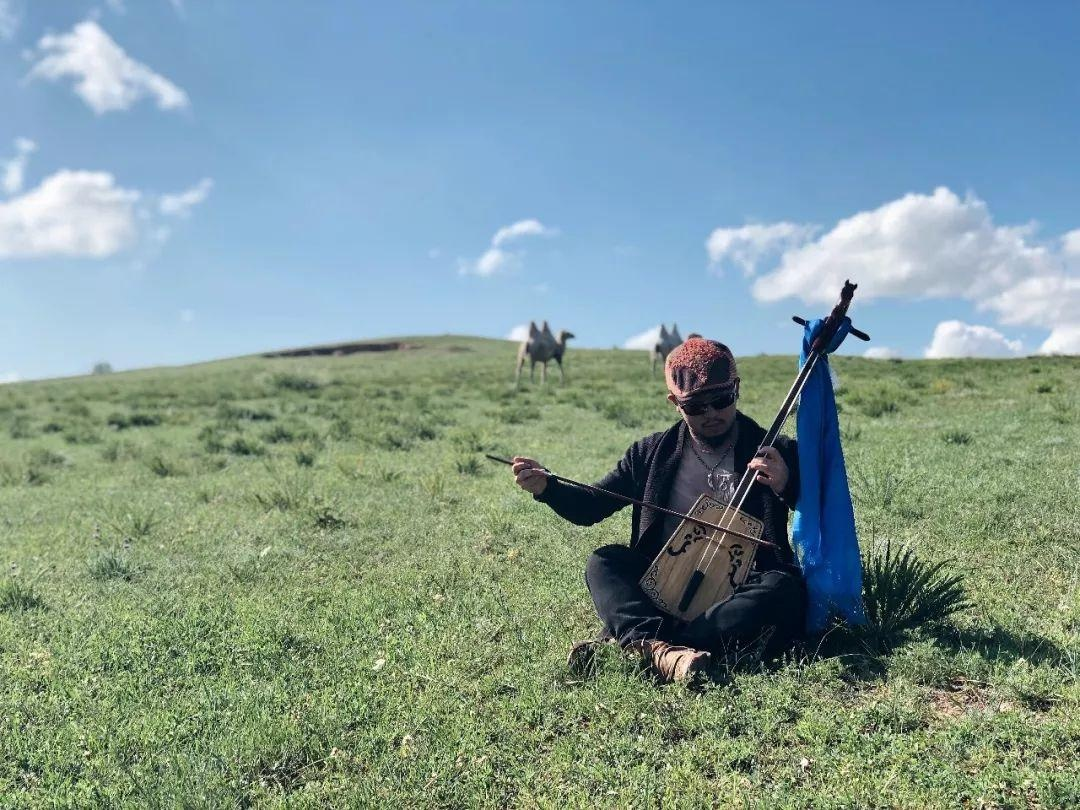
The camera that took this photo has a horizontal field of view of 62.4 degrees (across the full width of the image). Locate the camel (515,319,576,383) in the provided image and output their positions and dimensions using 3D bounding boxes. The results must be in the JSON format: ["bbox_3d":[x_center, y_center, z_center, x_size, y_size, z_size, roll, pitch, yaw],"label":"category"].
[{"bbox_3d":[0.106,-1.522,26.917,0.625,1.919,2.550,15,12,38],"label":"camel"}]

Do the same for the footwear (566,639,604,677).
[{"bbox_3d":[0.367,1.934,6.843,0.267,0.212,0.113,-5,37,49],"label":"footwear"}]

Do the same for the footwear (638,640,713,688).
[{"bbox_3d":[0.994,1.880,6.678,0.423,0.286,0.188,18,52,31],"label":"footwear"}]

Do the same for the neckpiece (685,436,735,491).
[{"bbox_3d":[1.421,0.487,7.204,0.290,0.448,0.101,-1,0,11],"label":"neckpiece"}]

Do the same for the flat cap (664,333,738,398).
[{"bbox_3d":[1.314,-0.313,7.245,0.621,0.629,0.936,-14,0,9],"label":"flat cap"}]

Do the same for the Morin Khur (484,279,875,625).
[{"bbox_3d":[1.786,1.078,7.597,1.899,4.107,1.685,0,-1,35],"label":"Morin Khur"}]
